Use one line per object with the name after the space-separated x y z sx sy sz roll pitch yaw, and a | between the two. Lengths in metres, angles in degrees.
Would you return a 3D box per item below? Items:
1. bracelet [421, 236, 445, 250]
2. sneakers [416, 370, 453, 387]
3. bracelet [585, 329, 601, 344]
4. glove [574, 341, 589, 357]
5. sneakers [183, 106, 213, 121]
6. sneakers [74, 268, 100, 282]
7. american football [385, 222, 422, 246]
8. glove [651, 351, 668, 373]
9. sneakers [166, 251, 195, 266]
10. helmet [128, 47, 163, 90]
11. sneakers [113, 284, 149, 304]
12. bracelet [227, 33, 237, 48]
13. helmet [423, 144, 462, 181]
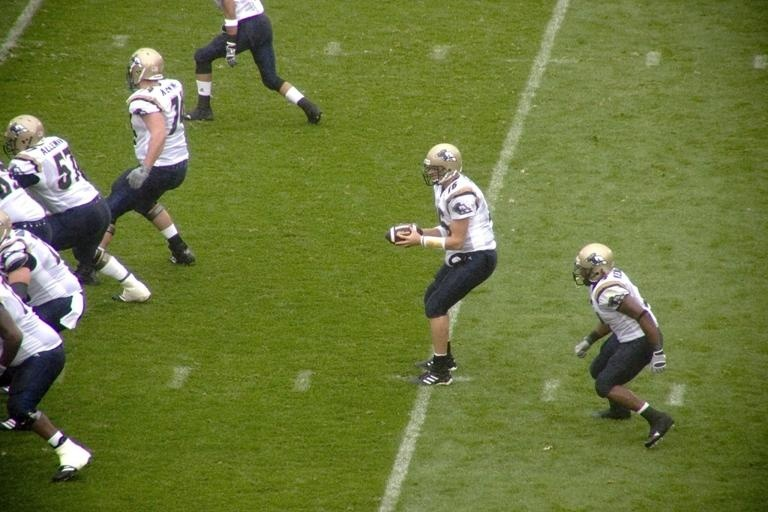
0.481 -0.121 13.441 0.200 0.071 0.116 9 29 16 | bracelet
0.503 1.212 13.665 0.310 0.114 0.140 3 44 -5 | sneakers
2.022 0.792 13.494 0.063 0.149 0.110 32 46 -16 | bracelet
1.937 0.924 13.634 0.173 0.148 0.101 -6 32 -30 | glove
-2.169 -1.701 16.702 0.390 0.207 0.129 10 23 1 | sneakers
-3.055 0.233 14.424 0.233 0.198 0.111 3 68 -28 | sneakers
0.195 -0.221 13.580 0.337 0.148 0.168 -4 -1 -5 | american football
2.584 0.999 13.051 0.171 0.184 0.070 -18 14 -18 | glove
-2.109 0.040 14.663 0.246 0.110 0.097 -3 8 -6 | sneakers
-2.423 -1.935 14.445 0.394 0.371 0.459 -10 12 -35 | helmet
-2.520 0.389 14.161 0.419 0.176 0.114 2 73 8 | sneakers
-1.751 -2.516 16.188 0.148 0.167 0.140 3 7 17 | bracelet
0.585 -0.903 13.563 0.478 0.317 0.312 -14 16 -15 | helmet
